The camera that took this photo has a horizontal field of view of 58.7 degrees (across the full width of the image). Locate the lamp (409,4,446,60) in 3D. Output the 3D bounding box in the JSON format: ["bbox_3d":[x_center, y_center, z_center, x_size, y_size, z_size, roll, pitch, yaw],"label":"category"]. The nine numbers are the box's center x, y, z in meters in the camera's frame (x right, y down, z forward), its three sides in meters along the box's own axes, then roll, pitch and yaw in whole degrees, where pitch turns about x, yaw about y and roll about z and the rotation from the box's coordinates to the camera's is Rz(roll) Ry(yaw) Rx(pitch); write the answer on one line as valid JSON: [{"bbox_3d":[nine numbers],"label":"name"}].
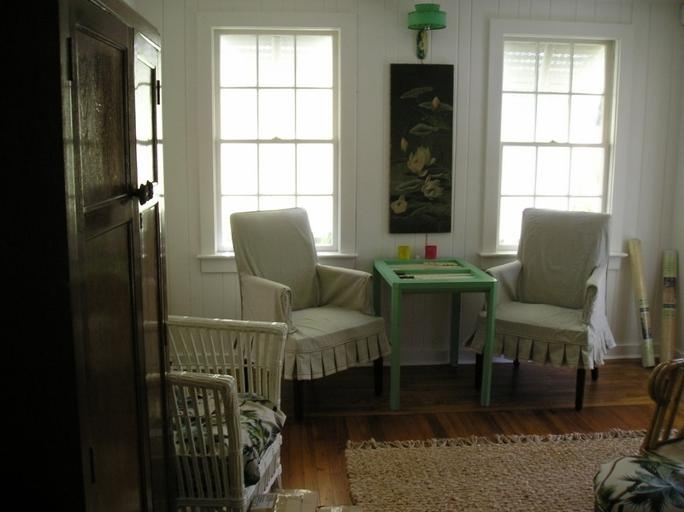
[{"bbox_3d":[0.524,-1.431,3.907,0.253,0.339,0.309,-3,9,-11],"label":"lamp"}]

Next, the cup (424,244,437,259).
[{"bbox_3d":[0.601,-0.034,4.157,0.080,0.089,0.085,1,-2,0],"label":"cup"}]

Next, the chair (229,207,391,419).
[{"bbox_3d":[-0.253,0.301,3.722,0.882,1.114,0.793,6,9,42],"label":"chair"}]

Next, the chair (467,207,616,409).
[{"bbox_3d":[1.305,0.284,3.818,0.892,1.154,0.902,2,5,-4],"label":"chair"}]

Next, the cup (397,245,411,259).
[{"bbox_3d":[0.420,-0.027,4.132,0.081,0.099,0.082,1,5,0],"label":"cup"}]

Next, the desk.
[{"bbox_3d":[0.556,0.194,3.873,0.704,0.920,1.130,-2,16,-6],"label":"desk"}]
